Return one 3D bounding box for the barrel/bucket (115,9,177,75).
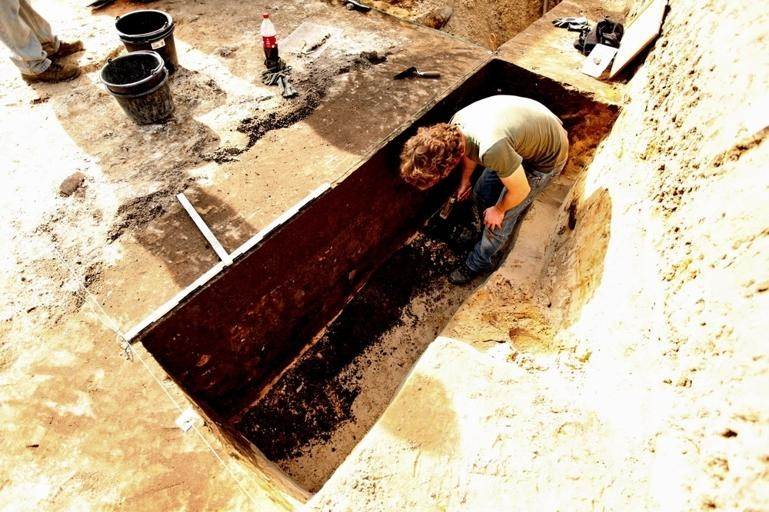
[{"bbox_3d":[-1.970,-1.851,4.650,0.510,0.558,0.572,-5,60,-12],"label":"barrel/bucket"}]

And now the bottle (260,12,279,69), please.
[{"bbox_3d":[-0.959,-1.793,4.457,0.135,0.415,0.291,-8,56,-9],"label":"bottle"}]

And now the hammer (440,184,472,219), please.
[{"bbox_3d":[0.659,-0.520,5.062,0.138,0.158,0.452,36,90,-11],"label":"hammer"}]

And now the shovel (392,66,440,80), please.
[{"bbox_3d":[0.268,-1.568,4.572,0.444,0.100,0.147,1,107,-9],"label":"shovel"}]

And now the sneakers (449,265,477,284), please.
[{"bbox_3d":[0.689,0.172,4.769,0.272,0.117,0.126,-28,103,-28],"label":"sneakers"}]

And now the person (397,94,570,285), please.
[{"bbox_3d":[0.817,-0.537,4.325,0.953,1.205,0.546,-36,63,11],"label":"person"}]

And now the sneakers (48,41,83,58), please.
[{"bbox_3d":[-2.761,-1.785,4.610,0.238,0.104,0.085,-30,73,-16],"label":"sneakers"}]

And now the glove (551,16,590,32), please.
[{"bbox_3d":[1.755,-2.183,5.021,0.326,0.079,0.257,12,57,5],"label":"glove"}]

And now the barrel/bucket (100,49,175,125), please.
[{"bbox_3d":[-1.933,-1.342,4.197,0.476,0.348,0.590,-20,59,-15],"label":"barrel/bucket"}]
